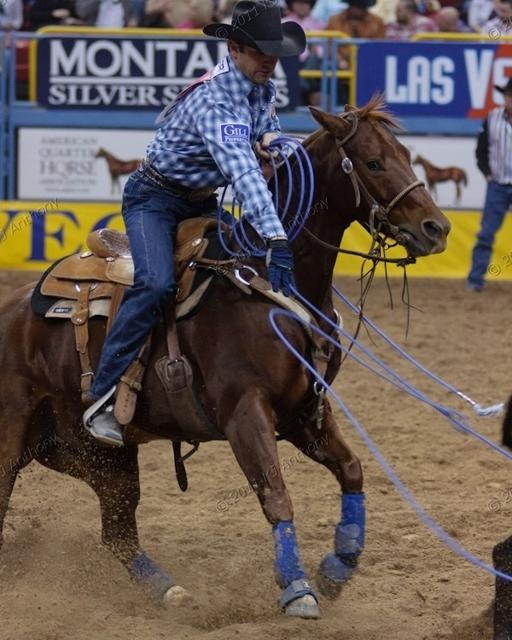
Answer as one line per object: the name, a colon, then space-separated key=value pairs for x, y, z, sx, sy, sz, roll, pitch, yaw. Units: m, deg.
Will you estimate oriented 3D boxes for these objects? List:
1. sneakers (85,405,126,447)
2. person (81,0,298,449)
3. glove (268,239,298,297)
sneakers: x=-0.598 y=0.420 z=3.521 sx=0.230 sy=0.089 sz=0.081 roll=17 pitch=-21 yaw=44
person: x=-0.228 y=-0.358 z=3.470 sx=0.798 sy=1.719 sz=0.655 roll=5 pitch=13 yaw=6
glove: x=0.099 y=-0.181 z=3.171 sx=0.113 sy=0.173 sz=0.047 roll=-17 pitch=26 yaw=-34
